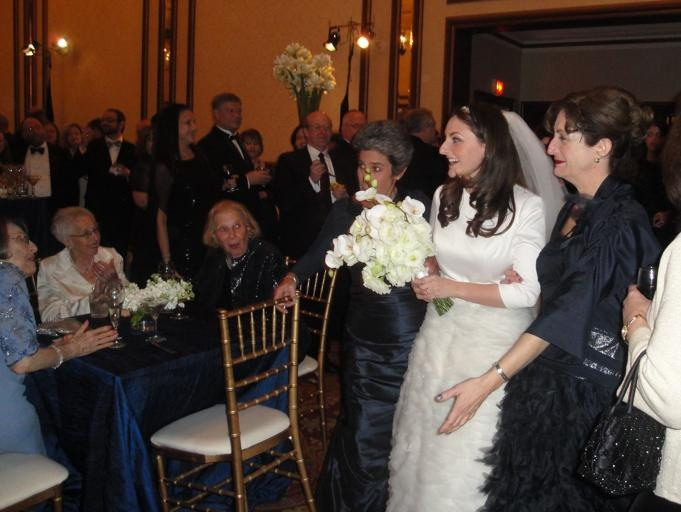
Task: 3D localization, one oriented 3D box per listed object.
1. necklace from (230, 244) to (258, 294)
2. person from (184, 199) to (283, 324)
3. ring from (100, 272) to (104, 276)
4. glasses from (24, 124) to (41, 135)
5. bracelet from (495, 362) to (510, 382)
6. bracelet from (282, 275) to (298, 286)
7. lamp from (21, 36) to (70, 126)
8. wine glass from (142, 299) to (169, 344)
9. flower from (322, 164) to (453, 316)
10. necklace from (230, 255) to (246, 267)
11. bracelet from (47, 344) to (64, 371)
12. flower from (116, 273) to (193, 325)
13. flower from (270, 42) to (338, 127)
[{"bbox_3d":[-0.581,0.080,3.704,0.143,0.292,0.189,16,-22,-34],"label":"necklace"},{"bbox_3d":[-0.697,0.049,3.799,0.617,0.917,0.491,-2,17,11],"label":"person"},{"bbox_3d":[-1.406,0.106,3.623,0.018,0.027,0.024,-7,-2,43],"label":"ring"},{"bbox_3d":[-3.408,-1.389,6.820,0.092,0.050,0.123,-3,3,1],"label":"glasses"},{"bbox_3d":[0.609,0.448,2.354,0.022,0.062,0.061,-31,14,1],"label":"bracelet"},{"bbox_3d":[-0.265,0.122,3.181,0.054,0.021,0.059,17,57,23],"label":"bracelet"},{"bbox_3d":[-4.671,-2.831,9.950,0.659,1.296,1.342,-9,17,-30],"label":"lamp"},{"bbox_3d":[-0.981,0.343,3.242,0.128,0.227,0.139,15,20,38],"label":"wine glass"},{"bbox_3d":[0.223,-0.016,2.690,0.555,0.339,0.545,-11,55,2],"label":"flower"},{"bbox_3d":[-0.623,0.031,3.717,0.066,0.074,0.067,15,8,38],"label":"necklace"},{"bbox_3d":[-1.306,0.471,2.857,0.026,0.098,0.089,-14,15,-39],"label":"bracelet"},{"bbox_3d":[-0.993,0.193,3.374,0.277,0.267,0.276,-1,3,-41],"label":"flower"},{"bbox_3d":[-0.323,-1.545,5.852,0.659,0.879,0.703,-1,8,-3],"label":"flower"}]
